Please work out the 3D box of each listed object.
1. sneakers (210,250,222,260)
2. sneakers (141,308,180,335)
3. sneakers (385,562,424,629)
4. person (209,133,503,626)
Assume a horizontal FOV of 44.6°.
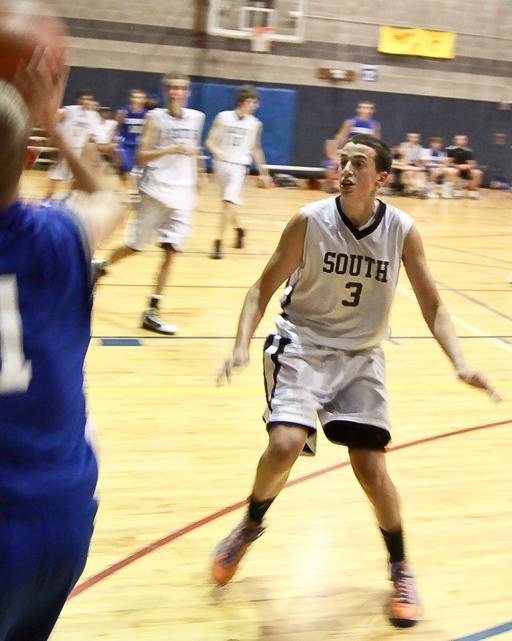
[{"bbox_3d":[-0.462,-0.752,7.155,0.132,0.083,0.122,1,2,12],"label":"sneakers"},{"bbox_3d":[-0.690,0.003,4.782,0.381,0.154,0.127,17,24,30],"label":"sneakers"},{"bbox_3d":[0.511,0.927,2.115,0.125,0.175,0.127,10,15,3],"label":"sneakers"},{"bbox_3d":[0.318,0.157,2.224,0.810,1.610,0.706,10,16,2],"label":"person"}]
